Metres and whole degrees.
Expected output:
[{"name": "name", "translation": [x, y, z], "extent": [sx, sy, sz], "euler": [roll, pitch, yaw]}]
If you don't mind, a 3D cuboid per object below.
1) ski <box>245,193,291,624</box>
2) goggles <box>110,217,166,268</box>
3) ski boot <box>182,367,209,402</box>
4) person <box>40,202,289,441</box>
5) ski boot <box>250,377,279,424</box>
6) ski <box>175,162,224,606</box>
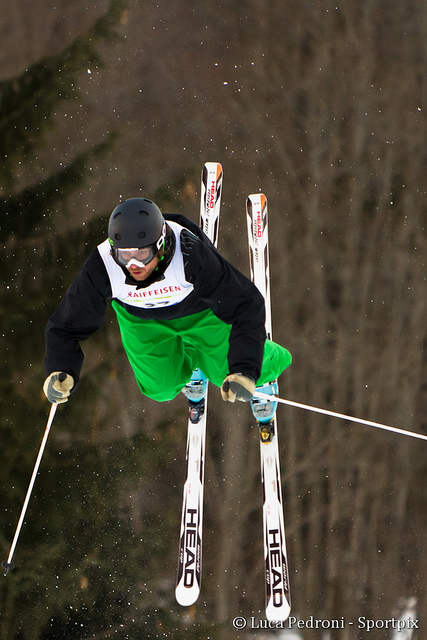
[{"name": "ski", "translation": [0.387, 0.579, 5.507], "extent": [0.247, 0.224, 3.110], "euler": [-4, 80, 4]}, {"name": "goggles", "translation": [-0.387, -0.371, 4.163], "extent": [0.302, 0.139, 0.143], "euler": [-19, 63, -10]}, {"name": "ski boot", "translation": [-0.114, 0.472, 5.278], "extent": [0.138, 0.244, 0.256], "euler": [0, 44, 1]}, {"name": "person", "translation": [-0.277, 0.100, 5.011], "extent": [1.181, 2.198, 1.186], "euler": [6, 64, 24]}, {"name": "ski boot", "translation": [0.347, 0.567, 5.155], "extent": [0.126, 0.188, 0.428], "euler": [3, 105, 4]}, {"name": "ski", "translation": [-0.020, 0.220, 5.522], "extent": [0.243, 0.254, 3.487], "euler": [4, 84, 0]}]
